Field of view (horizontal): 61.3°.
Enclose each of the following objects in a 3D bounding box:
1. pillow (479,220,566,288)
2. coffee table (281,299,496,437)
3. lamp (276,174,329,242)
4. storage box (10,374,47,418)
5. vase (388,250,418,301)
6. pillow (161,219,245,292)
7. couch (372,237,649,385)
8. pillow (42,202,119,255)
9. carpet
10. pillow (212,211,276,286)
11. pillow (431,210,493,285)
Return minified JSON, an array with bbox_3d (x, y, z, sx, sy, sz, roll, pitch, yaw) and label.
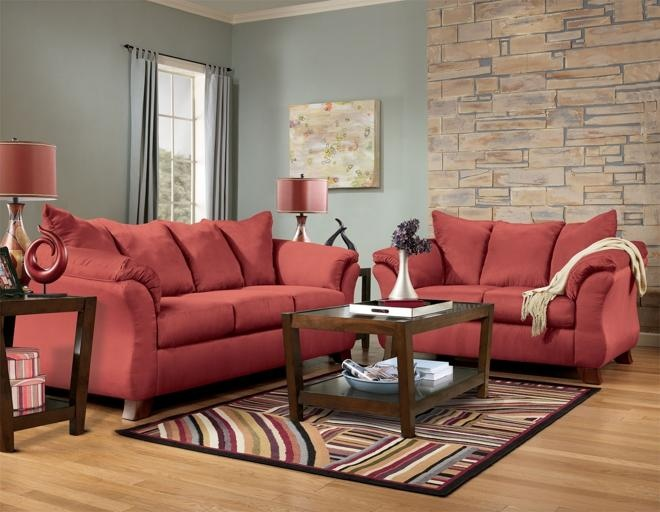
[{"bbox_3d":[1.562,0.002,4.516,0.690,0.529,0.180,9,-19,37],"label":"pillow"},{"bbox_3d":[0.373,0.561,3.154,0.776,0.420,1.073,0,0,32],"label":"coffee table"},{"bbox_3d":[-0.242,-0.437,4.976,0.282,0.604,0.350,3,4,35],"label":"lamp"},{"bbox_3d":[-1.422,0.655,2.628,0.169,0.160,0.104,-2,3,-41],"label":"storage box"},{"bbox_3d":[0.422,0.101,3.169,0.158,0.274,0.303,1,2,6],"label":"vase"},{"bbox_3d":[-0.887,-0.015,4.007,0.181,0.489,0.604,-34,-12,22],"label":"pillow"},{"bbox_3d":[1.361,0.312,4.300,1.804,0.771,0.955,2,9,31],"label":"couch"},{"bbox_3d":[-1.515,-0.148,3.502,0.495,0.113,0.386,-3,16,31],"label":"pillow"},{"bbox_3d":[0.405,0.907,3.321,1.762,0.023,2.560,-1,-4,28],"label":"carpet"},{"bbox_3d":[-0.632,-0.058,4.404,0.678,0.475,0.189,-5,-3,21],"label":"pillow"},{"bbox_3d":[1.079,-0.042,4.616,0.773,0.535,0.205,3,-3,17],"label":"pillow"}]
